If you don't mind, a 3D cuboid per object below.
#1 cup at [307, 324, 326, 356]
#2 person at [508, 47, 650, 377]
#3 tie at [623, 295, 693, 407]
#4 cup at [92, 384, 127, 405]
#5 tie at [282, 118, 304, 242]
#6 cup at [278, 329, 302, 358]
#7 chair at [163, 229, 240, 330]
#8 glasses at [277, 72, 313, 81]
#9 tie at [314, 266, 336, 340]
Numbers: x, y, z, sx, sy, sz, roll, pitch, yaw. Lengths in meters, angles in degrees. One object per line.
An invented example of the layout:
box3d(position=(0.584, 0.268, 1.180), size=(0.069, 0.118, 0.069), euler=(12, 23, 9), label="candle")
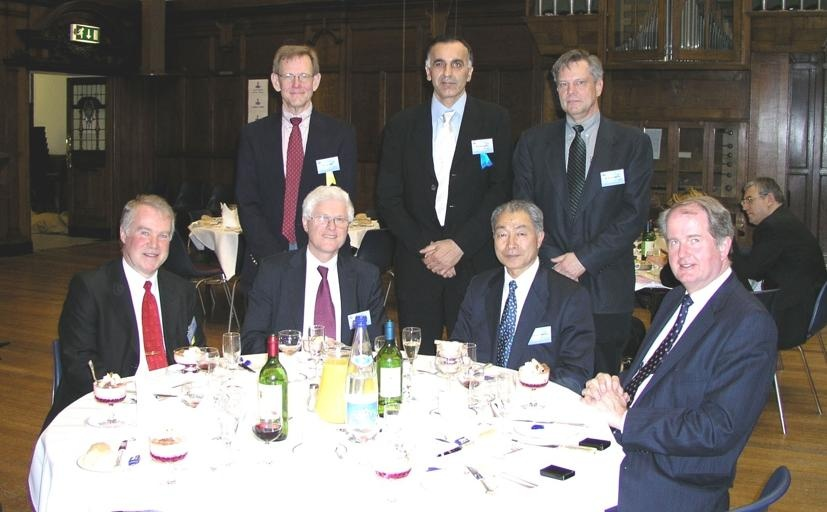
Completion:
box3d(position=(-0.531, 0.494, 3.676), size=(0.094, 0.238, 0.088), euler=(2, 8, 0), label="cup")
box3d(position=(1.160, 0.046, 4.799), size=(1.003, 2.864, 0.817), euler=(11, 22, 42), label="person")
box3d(position=(1.333, 0.538, 3.698), size=(0.078, 0.736, 0.107), euler=(26, 16, -8), label="tie")
box3d(position=(-1.456, 0.665, 3.236), size=(0.108, 0.051, 0.108), euler=(2, 9, 0), label="cup")
box3d(position=(-0.844, -0.503, 4.788), size=(0.157, 1.096, 0.118), euler=(-2, 41, -13), label="tie")
box3d(position=(-0.664, 0.473, 3.607), size=(0.123, 0.130, 0.120), euler=(0, 4, 0), label="cup")
box3d(position=(-2.192, 0.288, 7.194), size=(0.681, 0.890, 0.616), euler=(0, 5, -10), label="chair")
box3d(position=(-0.810, -1.221, 4.615), size=(0.210, 0.051, 0.035), euler=(1, 12, -3), label="glasses")
box3d(position=(-0.540, 0.292, 4.117), size=(0.138, 0.415, 0.285), euler=(-1, 12, -8), label="tie")
